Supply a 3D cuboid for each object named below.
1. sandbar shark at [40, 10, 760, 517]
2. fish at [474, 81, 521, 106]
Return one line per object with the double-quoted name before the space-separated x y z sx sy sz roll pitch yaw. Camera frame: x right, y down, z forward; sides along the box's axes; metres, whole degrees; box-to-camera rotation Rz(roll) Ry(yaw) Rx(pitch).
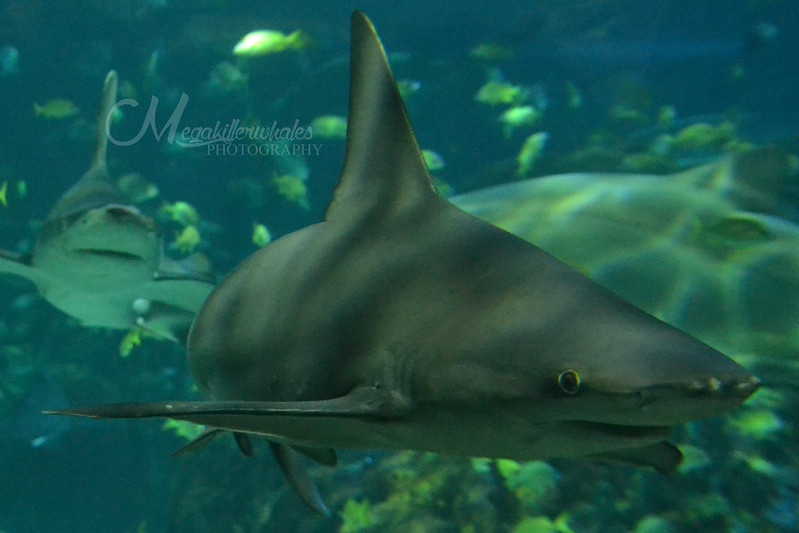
"sandbar shark" 0.242 -0.010 5.294 3.102 2.269 1.311 4 85 34
"fish" 0.600 -1.023 6.451 0.266 0.049 0.136 0 86 42
